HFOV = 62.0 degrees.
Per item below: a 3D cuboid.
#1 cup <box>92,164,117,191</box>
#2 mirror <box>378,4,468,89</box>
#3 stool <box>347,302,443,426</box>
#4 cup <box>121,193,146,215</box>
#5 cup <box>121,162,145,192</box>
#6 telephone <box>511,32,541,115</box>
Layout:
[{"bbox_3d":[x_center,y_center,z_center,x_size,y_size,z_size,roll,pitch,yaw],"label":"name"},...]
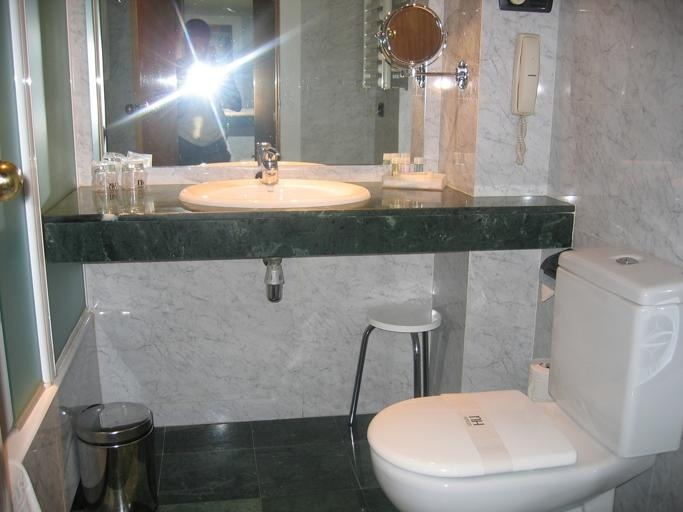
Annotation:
[{"bbox_3d":[-0.909,-0.305,2.178,0.080,0.109,0.224,-11,15,-33],"label":"cup"},{"bbox_3d":[0.330,-0.859,2.341,0.352,0.360,0.258,-2,13,4],"label":"mirror"},{"bbox_3d":[0.236,0.458,2.526,0.457,0.654,0.449,-3,23,-3],"label":"stool"},{"bbox_3d":[-0.739,-0.181,2.013,0.072,0.085,0.072,7,18,-2],"label":"cup"},{"bbox_3d":[-0.810,-0.313,2.243,0.104,0.123,0.105,6,18,-2],"label":"cup"},{"bbox_3d":[0.709,-0.691,2.157,0.119,0.301,0.075,-3,13,1],"label":"telephone"}]
